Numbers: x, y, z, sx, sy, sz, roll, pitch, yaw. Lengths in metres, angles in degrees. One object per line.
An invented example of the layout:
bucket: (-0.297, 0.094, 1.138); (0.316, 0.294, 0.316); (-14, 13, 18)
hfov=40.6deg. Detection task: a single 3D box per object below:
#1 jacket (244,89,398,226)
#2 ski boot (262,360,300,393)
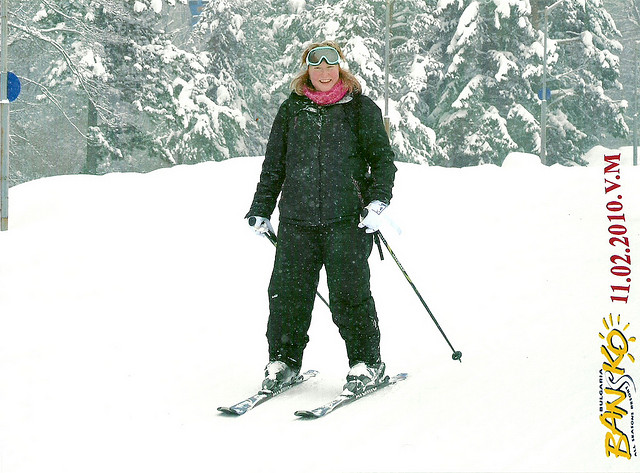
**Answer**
jacket: (0.044, -0.833, 8.955); (1.475, 1.462, 0.752); (0, -1, 12)
ski boot: (-0.438, 1.419, 8.825); (0.407, 0.304, 0.131); (-11, 10, -36)
